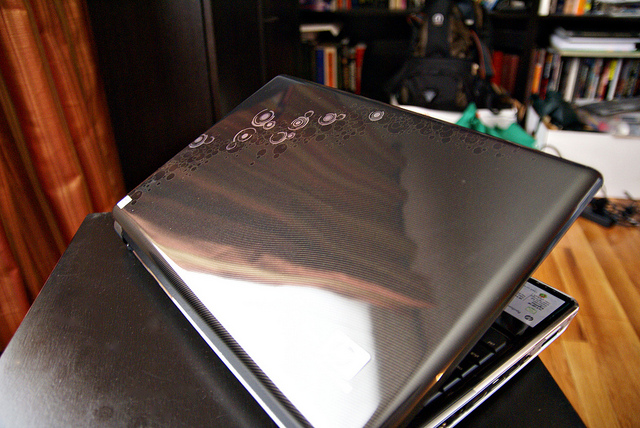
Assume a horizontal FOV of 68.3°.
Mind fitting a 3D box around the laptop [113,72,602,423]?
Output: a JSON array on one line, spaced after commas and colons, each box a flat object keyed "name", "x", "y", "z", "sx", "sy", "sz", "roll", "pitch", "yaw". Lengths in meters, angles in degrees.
[{"name": "laptop", "x": 0.078, "y": 0.067, "z": 0.694, "sx": 0.454, "sy": 0.267, "sz": 0.583, "roll": -36, "pitch": 49, "yaw": -26}]
